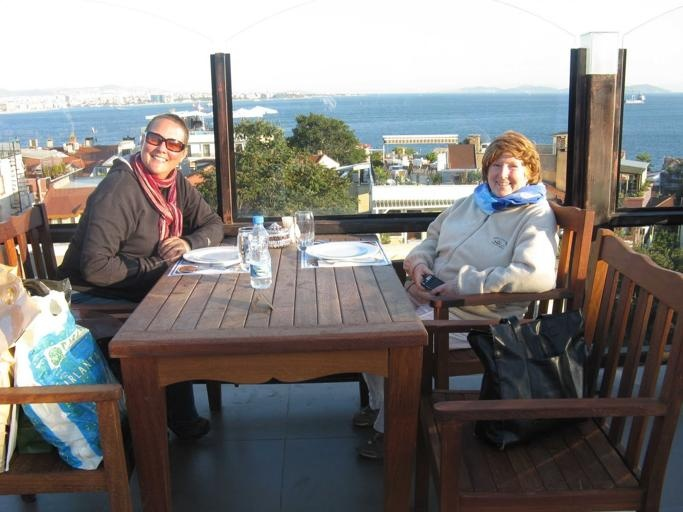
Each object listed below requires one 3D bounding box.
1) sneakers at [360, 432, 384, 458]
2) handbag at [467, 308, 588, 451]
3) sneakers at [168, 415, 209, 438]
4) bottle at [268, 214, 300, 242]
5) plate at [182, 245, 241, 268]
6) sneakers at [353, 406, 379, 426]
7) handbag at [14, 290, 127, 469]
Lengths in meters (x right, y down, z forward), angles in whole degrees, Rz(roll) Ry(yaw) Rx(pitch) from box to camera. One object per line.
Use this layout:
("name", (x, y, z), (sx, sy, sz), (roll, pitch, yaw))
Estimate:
("sneakers", (0.140, 0.880, 2.555), (0.149, 0.067, 0.069), (2, 2, 1))
("handbag", (0.652, 0.438, 1.891), (0.396, 0.359, 0.170), (-8, -4, -17))
("sneakers", (-0.752, 0.829, 2.689), (0.167, 0.071, 0.098), (-1, 36, 3))
("bottle", (-0.280, -0.151, 2.838), (0.183, 0.193, 0.112), (-2, 3, 0))
("plate", (-0.596, 0.001, 2.549), (0.152, 0.017, 0.156), (1, 23, 1))
("sneakers", (0.120, 0.805, 2.777), (0.130, 0.057, 0.070), (5, -5, -43))
("handbag", (-0.927, 0.438, 1.848), (0.157, 0.443, 0.378), (-17, 33, 10))
